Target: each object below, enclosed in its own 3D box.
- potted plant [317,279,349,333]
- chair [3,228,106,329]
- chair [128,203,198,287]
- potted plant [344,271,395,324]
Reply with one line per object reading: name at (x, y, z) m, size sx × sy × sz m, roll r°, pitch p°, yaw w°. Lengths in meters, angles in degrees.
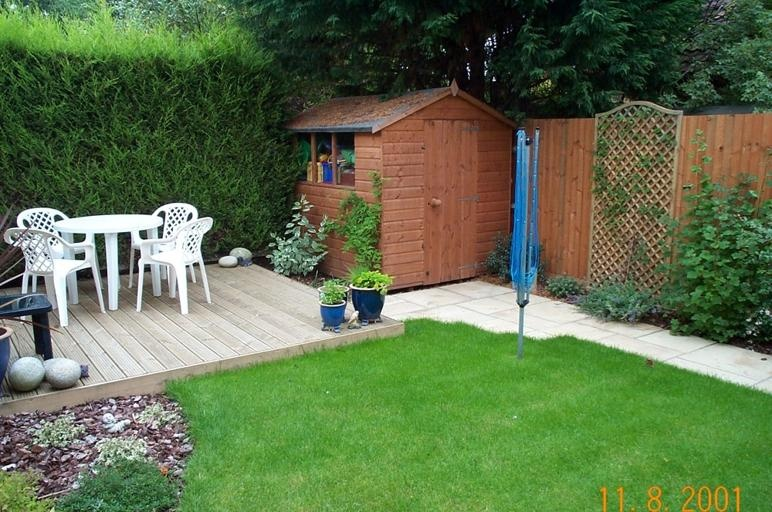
potted plant at (-0.677, 0.628, 7.401) m, size 0.335 × 0.598 × 0.397 m, roll 0°, pitch 10°, yaw -7°
chair at (-4.295, 0.289, 7.460) m, size 0.961 × 1.147 × 0.852 m, roll 9°, pitch 16°, yaw 23°
chair at (-2.984, 0.066, 8.214) m, size 0.902 × 1.307 × 0.970 m, roll 5°, pitch 9°, yaw 6°
potted plant at (-0.220, 0.542, 7.670) m, size 0.602 × 0.738 × 0.636 m, roll -1°, pitch 6°, yaw -28°
